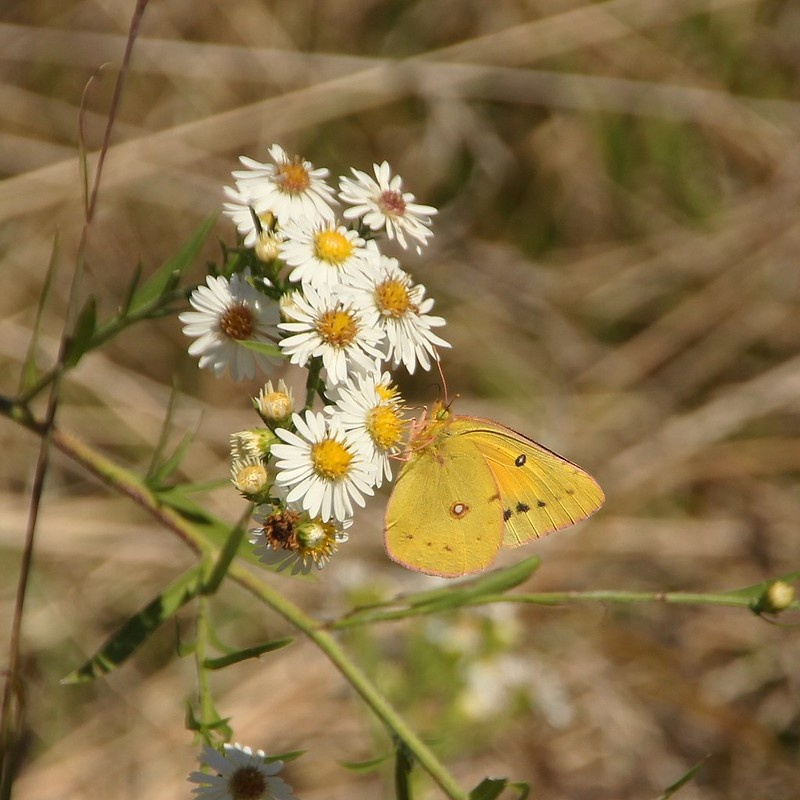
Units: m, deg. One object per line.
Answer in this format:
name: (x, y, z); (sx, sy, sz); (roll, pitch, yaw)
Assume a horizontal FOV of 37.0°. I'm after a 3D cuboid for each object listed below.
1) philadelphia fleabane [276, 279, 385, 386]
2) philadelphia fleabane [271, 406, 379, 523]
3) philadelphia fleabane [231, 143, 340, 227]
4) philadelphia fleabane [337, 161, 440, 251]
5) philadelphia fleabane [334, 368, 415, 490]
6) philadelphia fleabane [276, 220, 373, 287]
philadelphia fleabane: (-0.274, -0.229, 4.335); (0.403, 0.177, 0.304); (42, 85, 10)
philadelphia fleabane: (-0.267, 0.229, 4.357); (0.397, 0.384, 0.099); (25, 106, -9)
philadelphia fleabane: (-0.411, -0.795, 4.460); (0.388, 0.429, 0.095); (-10, 65, 45)
philadelphia fleabane: (-0.061, -0.758, 4.578); (0.390, 0.380, 0.087); (24, 80, -16)
philadelphia fleabane: (-0.126, 0.109, 4.406); (0.164, 0.406, 0.377); (-9, 64, 30)
philadelphia fleabane: (-0.264, -0.523, 4.432); (0.438, 0.421, 0.077); (9, 87, 16)
